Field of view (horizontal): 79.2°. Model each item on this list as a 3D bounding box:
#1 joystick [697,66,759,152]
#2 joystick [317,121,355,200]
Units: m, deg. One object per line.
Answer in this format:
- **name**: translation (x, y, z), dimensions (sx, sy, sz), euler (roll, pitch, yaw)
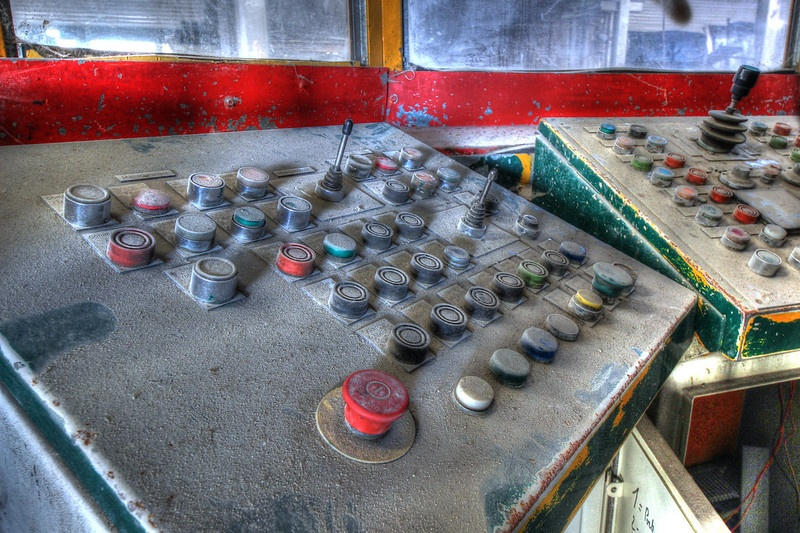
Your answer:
- **joystick**: translation (1.115, -0.528, 1.631), dimensions (0.174, 0.253, 0.161), euler (5, 32, -2)
- **joystick**: translation (-0.166, -0.270, 1.229), dimensions (0.088, 0.175, 0.160), euler (-1, 29, -1)
